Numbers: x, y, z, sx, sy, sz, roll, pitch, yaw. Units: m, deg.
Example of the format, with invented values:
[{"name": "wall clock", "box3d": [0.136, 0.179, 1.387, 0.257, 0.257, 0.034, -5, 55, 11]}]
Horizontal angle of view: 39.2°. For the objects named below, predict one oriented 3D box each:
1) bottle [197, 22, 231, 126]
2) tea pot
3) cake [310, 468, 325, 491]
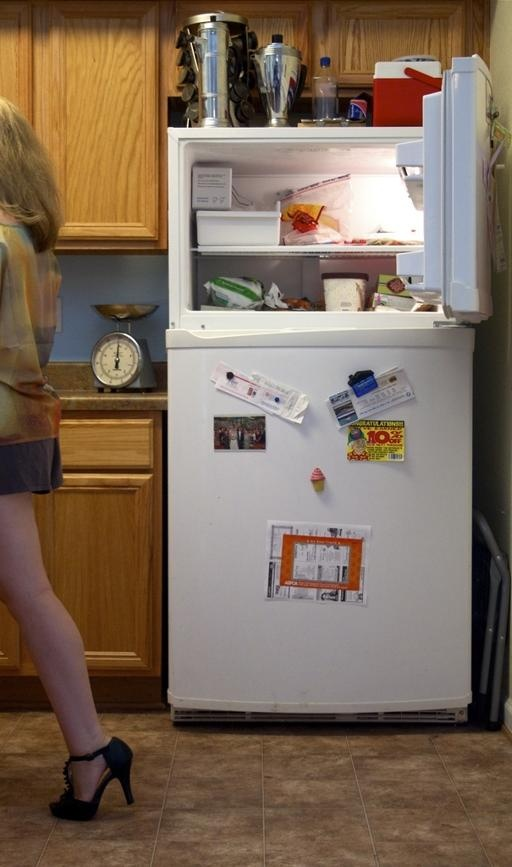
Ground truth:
[{"name": "bottle", "box3d": [-0.106, -0.872, 1.767, 0.052, 0.239, 0.083, -1, 12, -3]}, {"name": "tea pot", "box3d": [0.065, -0.874, 1.868, 0.111, 0.262, 0.109, -3, 12, 1]}, {"name": "cake", "box3d": [0.140, 0.105, 1.625, 0.041, 0.061, 0.039, -3, 0, -45]}]
